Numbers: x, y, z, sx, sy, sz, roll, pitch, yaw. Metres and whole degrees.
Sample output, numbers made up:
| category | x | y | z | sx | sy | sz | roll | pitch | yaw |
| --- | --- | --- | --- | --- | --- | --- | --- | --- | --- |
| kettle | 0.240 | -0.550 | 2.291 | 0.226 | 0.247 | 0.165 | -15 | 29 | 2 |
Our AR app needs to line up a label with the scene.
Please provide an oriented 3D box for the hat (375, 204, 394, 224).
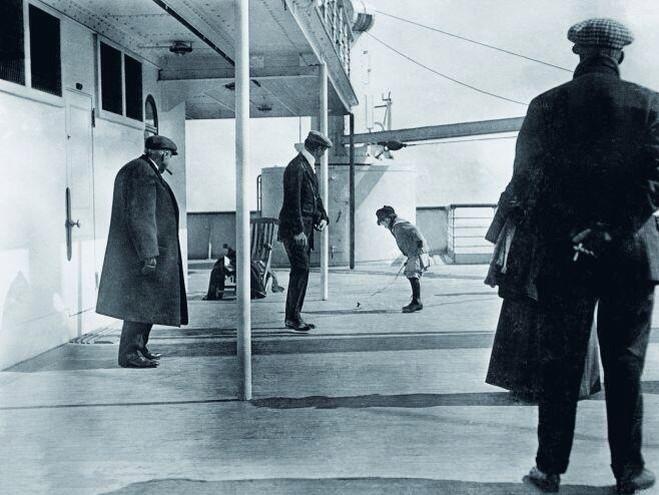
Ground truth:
| category | x | y | z | sx | sy | sz | roll | pitch | yaw |
| --- | --- | --- | --- | --- | --- | --- | --- | --- | --- |
| hat | 0.700 | -0.419 | 11.207 | 0.253 | 0.233 | 0.192 | -31 | 24 | -26 |

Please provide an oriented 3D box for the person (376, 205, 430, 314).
| category | x | y | z | sx | sy | sz | roll | pitch | yaw |
| --- | --- | --- | --- | --- | --- | --- | --- | --- | --- |
| person | 0.970 | 0.114 | 11.497 | 0.645 | 1.368 | 1.105 | 1 | 6 | 5 |

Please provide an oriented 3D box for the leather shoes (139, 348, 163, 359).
| category | x | y | z | sx | sy | sz | roll | pitch | yaw |
| --- | --- | --- | --- | --- | --- | --- | --- | --- | --- |
| leather shoes | -1.677 | 0.982 | 8.040 | 0.075 | 0.095 | 0.230 | 4 | 1 | 37 |

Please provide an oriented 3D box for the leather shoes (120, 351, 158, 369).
| category | x | y | z | sx | sy | sz | roll | pitch | yaw |
| --- | --- | --- | --- | --- | --- | --- | --- | --- | --- |
| leather shoes | -1.759 | 1.019 | 7.926 | 0.292 | 0.132 | 0.150 | 1 | 0 | -2 |

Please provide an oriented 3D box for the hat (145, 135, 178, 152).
| category | x | y | z | sx | sy | sz | roll | pitch | yaw |
| --- | --- | --- | --- | --- | --- | --- | --- | --- | --- |
| hat | -1.555 | -0.959 | 7.991 | 0.227 | 0.102 | 0.160 | 4 | 6 | -30 |

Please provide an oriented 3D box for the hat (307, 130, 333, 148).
| category | x | y | z | sx | sy | sz | roll | pitch | yaw |
| --- | --- | --- | --- | --- | --- | --- | --- | --- | --- |
| hat | -0.114 | -1.243 | 9.664 | 0.246 | 0.100 | 0.177 | 17 | -4 | -40 |

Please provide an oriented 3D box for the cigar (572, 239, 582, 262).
| category | x | y | z | sx | sy | sz | roll | pitch | yaw |
| --- | --- | --- | --- | --- | --- | --- | --- | --- | --- |
| cigar | 1.494 | 0.023 | 5.254 | 0.053 | 0.105 | 0.025 | 13 | 10 | 21 |

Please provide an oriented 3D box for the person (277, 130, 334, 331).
| category | x | y | z | sx | sy | sz | roll | pitch | yaw |
| --- | --- | --- | --- | --- | --- | --- | --- | --- | --- |
| person | -0.316 | -0.188 | 9.597 | 0.458 | 2.207 | 0.653 | 2 | 6 | 20 |

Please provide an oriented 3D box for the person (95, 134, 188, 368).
| category | x | y | z | sx | sy | sz | roll | pitch | yaw |
| --- | --- | --- | --- | --- | --- | --- | --- | --- | --- |
| person | -1.723 | 0.029 | 7.880 | 0.805 | 2.097 | 0.453 | -1 | 6 | -12 |

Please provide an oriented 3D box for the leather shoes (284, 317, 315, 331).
| category | x | y | z | sx | sy | sz | roll | pitch | yaw |
| --- | --- | --- | --- | --- | --- | --- | --- | --- | --- |
| leather shoes | -0.341 | 0.848 | 9.633 | 0.342 | 0.157 | 0.129 | 1 | -2 | 0 |

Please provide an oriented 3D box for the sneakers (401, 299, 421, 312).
| category | x | y | z | sx | sy | sz | roll | pitch | yaw |
| --- | --- | --- | --- | --- | --- | --- | --- | --- | --- |
| sneakers | 1.046 | 0.755 | 11.152 | 0.245 | 0.125 | 0.121 | 0 | -2 | -14 |
